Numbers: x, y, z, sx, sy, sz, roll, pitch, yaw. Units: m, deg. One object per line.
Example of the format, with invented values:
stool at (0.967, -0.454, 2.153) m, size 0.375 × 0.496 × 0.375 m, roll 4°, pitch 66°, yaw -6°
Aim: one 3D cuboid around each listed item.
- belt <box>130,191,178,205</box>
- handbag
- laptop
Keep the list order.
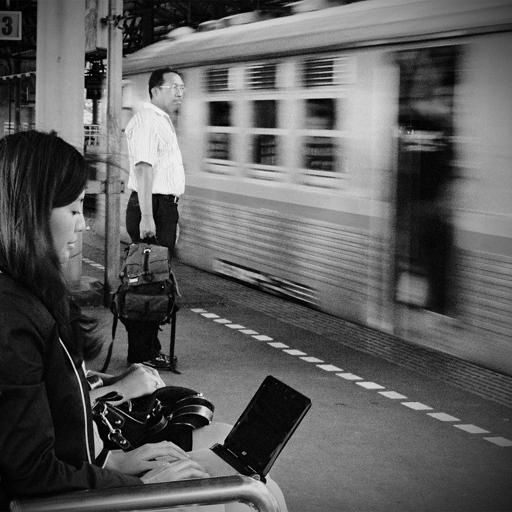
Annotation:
belt at (-1.040, -0.580, 5.525) m, size 0.278 × 0.098 × 0.229 m, roll 0°, pitch 2°, yaw 28°
handbag at (-0.397, 0.601, 2.005) m, size 0.373 × 0.167 × 0.235 m, roll -3°, pitch 14°, yaw -25°
laptop at (-0.046, 0.522, 1.632) m, size 0.369 × 0.321 × 0.269 m, roll 29°, pitch 14°, yaw 40°
